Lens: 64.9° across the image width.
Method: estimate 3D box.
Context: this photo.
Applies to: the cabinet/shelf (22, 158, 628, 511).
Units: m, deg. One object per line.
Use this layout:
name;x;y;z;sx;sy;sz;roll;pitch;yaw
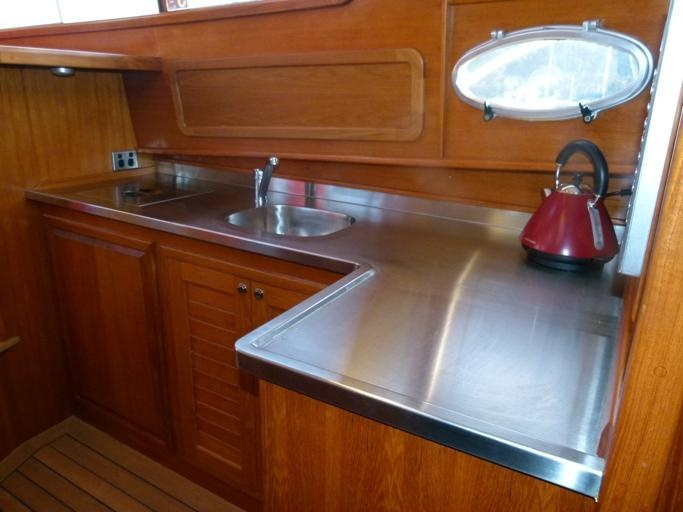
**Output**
cabinet/shelf;-0.084;0.234;1.802;1.414;0.647;0.675;17;23;30
